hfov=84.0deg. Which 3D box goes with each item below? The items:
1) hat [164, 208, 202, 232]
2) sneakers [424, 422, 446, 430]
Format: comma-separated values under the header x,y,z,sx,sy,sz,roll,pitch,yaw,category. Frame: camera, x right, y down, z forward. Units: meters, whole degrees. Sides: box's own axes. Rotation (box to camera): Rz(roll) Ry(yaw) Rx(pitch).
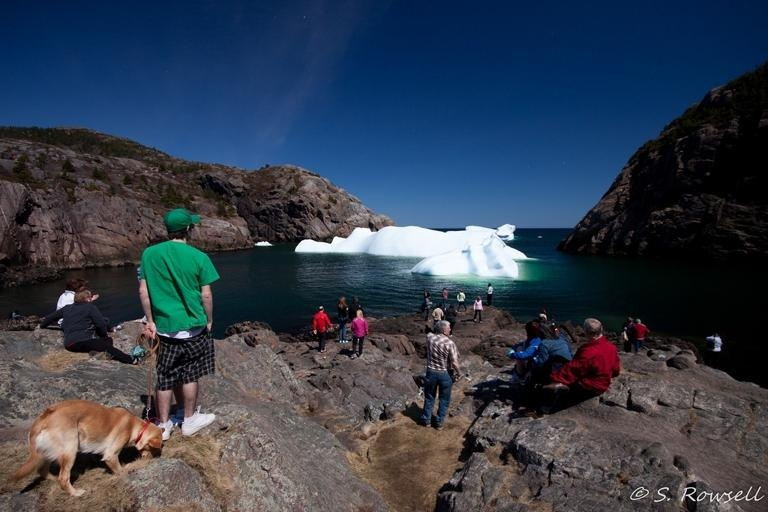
x,y,z,sx,sy,sz,roll,pitch,yaw,category
-3.780,-0.656,7.973,0.555,0.452,0.435,-1,6,-25,hat
1.342,4.437,11.138,0.527,0.203,0.174,-5,-7,23,sneakers
